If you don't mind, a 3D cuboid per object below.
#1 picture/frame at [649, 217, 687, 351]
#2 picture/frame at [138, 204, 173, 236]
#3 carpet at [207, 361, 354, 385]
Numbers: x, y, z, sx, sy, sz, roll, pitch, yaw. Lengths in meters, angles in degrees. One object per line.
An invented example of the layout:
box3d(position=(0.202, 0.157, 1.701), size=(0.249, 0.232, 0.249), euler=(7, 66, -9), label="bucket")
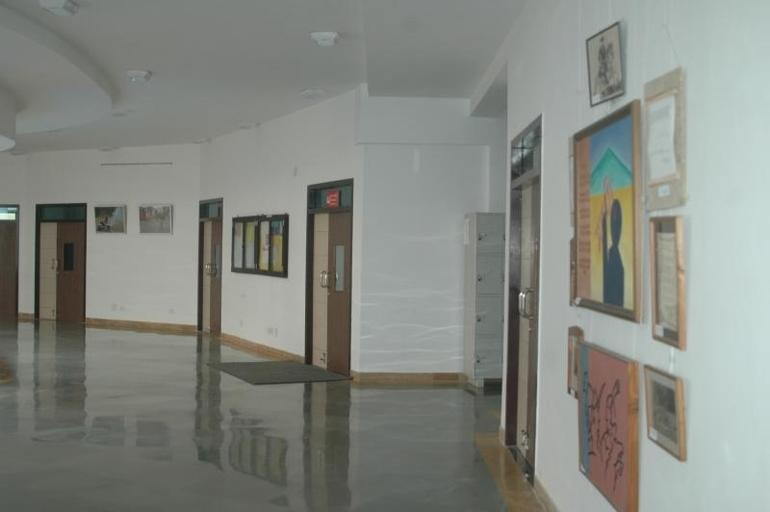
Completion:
box3d(position=(1.591, 0.135, 3.165), size=(0.068, 0.716, 0.254), euler=(0, 3, -10), label="picture/frame")
box3d(position=(-5.237, -0.866, 12.934), size=(0.886, 0.673, 0.179), euler=(2, 3, 27), label="picture/frame")
box3d(position=(-1.654, 1.763, 8.689), size=(1.374, 0.070, 2.110), euler=(-2, 4, -41), label="carpet")
